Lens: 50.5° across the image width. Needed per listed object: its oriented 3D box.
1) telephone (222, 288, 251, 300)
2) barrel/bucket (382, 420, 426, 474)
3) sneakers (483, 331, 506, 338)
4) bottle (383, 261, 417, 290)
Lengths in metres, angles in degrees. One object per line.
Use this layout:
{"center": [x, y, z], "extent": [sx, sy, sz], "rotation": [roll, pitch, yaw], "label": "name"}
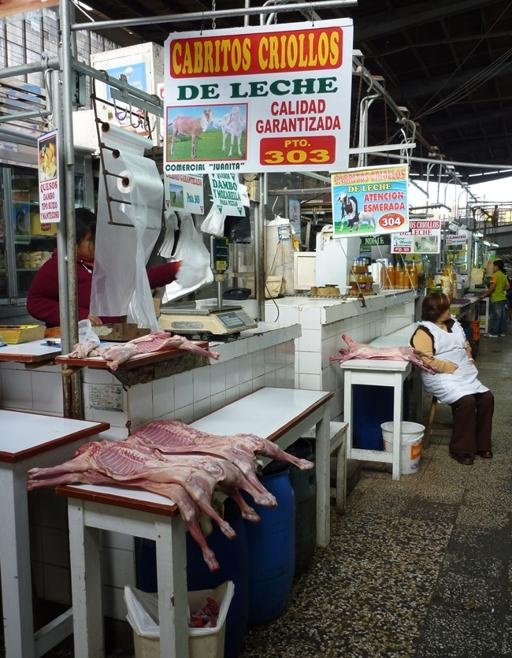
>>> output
{"center": [-0.114, -0.227, 3.424], "extent": [0.213, 0.078, 0.061], "rotation": [4, 12, 10], "label": "telephone"}
{"center": [1.086, 0.876, 4.004], "extent": [0.337, 0.299, 0.337], "rotation": [-2, 4, 0], "label": "barrel/bucket"}
{"center": [5.039, 0.101, 11.544], "extent": [0.457, 0.188, 0.155], "rotation": [1, 6, 38], "label": "sneakers"}
{"center": [1.878, -0.676, 7.076], "extent": [0.418, 0.364, 0.413], "rotation": [2, 19, 17], "label": "bottle"}
